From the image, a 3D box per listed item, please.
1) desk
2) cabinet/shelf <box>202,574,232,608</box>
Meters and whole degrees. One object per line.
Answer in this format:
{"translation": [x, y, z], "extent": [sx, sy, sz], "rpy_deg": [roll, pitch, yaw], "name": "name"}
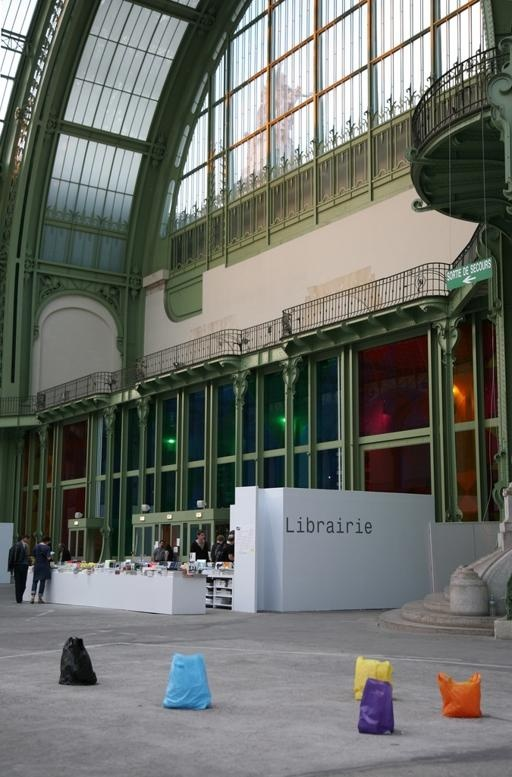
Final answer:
{"translation": [-4.125, 5.555, 20.939], "extent": [1.191, 1.150, 8.131], "rpy_deg": [6, -13, -41], "name": "desk"}
{"translation": [-1.028, 5.494, 20.425], "extent": [0.374, 1.480, 1.197], "rpy_deg": [3, -6, -32], "name": "cabinet/shelf"}
